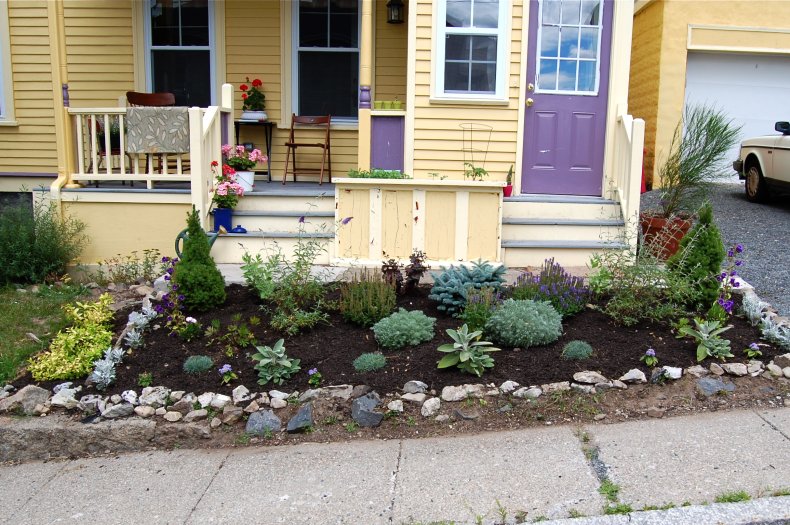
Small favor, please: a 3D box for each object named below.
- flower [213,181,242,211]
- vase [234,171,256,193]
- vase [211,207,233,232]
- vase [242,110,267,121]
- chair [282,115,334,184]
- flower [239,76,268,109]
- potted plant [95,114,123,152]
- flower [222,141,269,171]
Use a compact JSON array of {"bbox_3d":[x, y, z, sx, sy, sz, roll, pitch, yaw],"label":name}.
[{"bbox_3d":[-2.195,-0.910,8.048,0.375,0.407,0.355,-2,19,-9],"label":"flower"},{"bbox_3d":[-2.085,-1.141,8.451,0.251,0.228,0.283,-6,12,-23],"label":"vase"},{"bbox_3d":[-2.269,-0.568,7.994,0.267,0.312,0.274,1,1,-28],"label":"vase"},{"bbox_3d":[-2.248,-2.361,9.719,0.385,0.142,0.215,-4,16,-17],"label":"vase"},{"bbox_3d":[-1.370,-1.874,9.898,0.618,1.177,0.753,3,10,-2],"label":"chair"},{"bbox_3d":[-2.336,-2.750,9.865,0.412,0.530,0.454,0,14,-2],"label":"flower"},{"bbox_3d":[-4.352,-1.951,9.208,0.304,0.555,0.740,-7,16,-26],"label":"potted plant"},{"bbox_3d":[-2.184,-1.492,8.751,0.552,0.427,0.580,3,12,-7],"label":"flower"}]
